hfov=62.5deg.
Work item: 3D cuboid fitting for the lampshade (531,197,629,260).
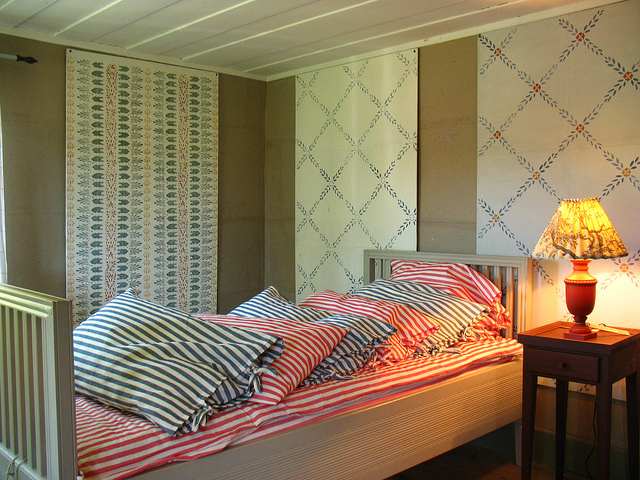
[{"bbox_3d":[1.361,-0.059,2.767,0.390,0.317,0.249,1,4,-10],"label":"lampshade"}]

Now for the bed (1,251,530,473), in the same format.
[{"bbox_3d":[-0.096,0.627,2.719,2.363,0.927,1.396,2,-2,-43],"label":"bed"}]
